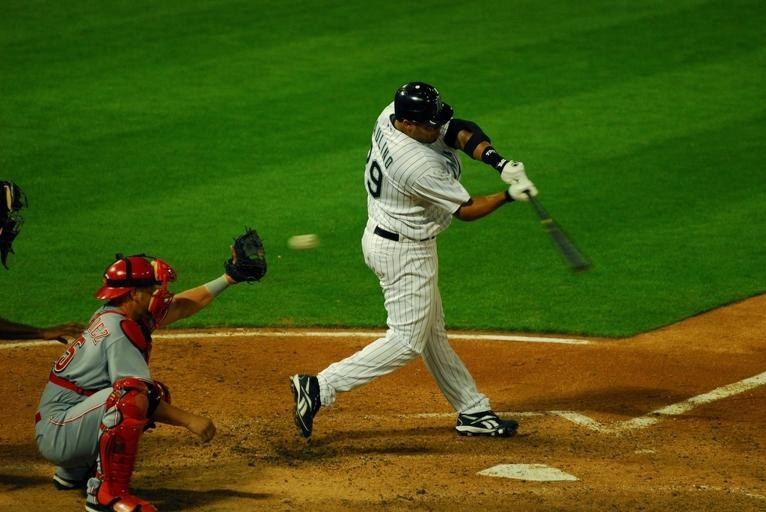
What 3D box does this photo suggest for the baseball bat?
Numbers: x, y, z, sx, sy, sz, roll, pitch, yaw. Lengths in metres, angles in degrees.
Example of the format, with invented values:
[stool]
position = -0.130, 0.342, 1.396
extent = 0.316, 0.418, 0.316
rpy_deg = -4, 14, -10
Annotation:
[baseball bat]
position = 2.187, -0.329, 14.554
extent = 0.195, 0.116, 1.451
rpy_deg = -36, 67, -21

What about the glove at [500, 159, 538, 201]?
[glove]
position = 1.350, -0.762, 11.678
extent = 0.304, 0.432, 0.180
rpy_deg = -39, -8, 10

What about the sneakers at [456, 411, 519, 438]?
[sneakers]
position = 1.058, 1.694, 11.924
extent = 0.652, 0.236, 0.249
rpy_deg = 1, -5, 4

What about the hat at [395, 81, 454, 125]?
[hat]
position = 0.401, -1.560, 11.684
extent = 0.654, 0.278, 0.423
rpy_deg = 17, 50, 9
